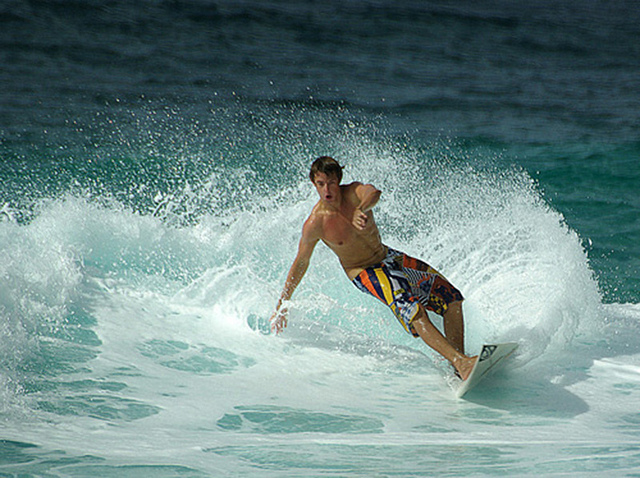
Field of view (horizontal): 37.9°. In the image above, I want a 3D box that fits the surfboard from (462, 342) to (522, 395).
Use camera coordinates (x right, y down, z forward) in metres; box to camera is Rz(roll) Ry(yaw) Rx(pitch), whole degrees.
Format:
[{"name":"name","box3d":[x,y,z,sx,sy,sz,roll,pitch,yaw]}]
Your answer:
[{"name":"surfboard","box3d":[2.072,1.665,12.086,0.183,0.885,0.446,41,14,-51]}]
